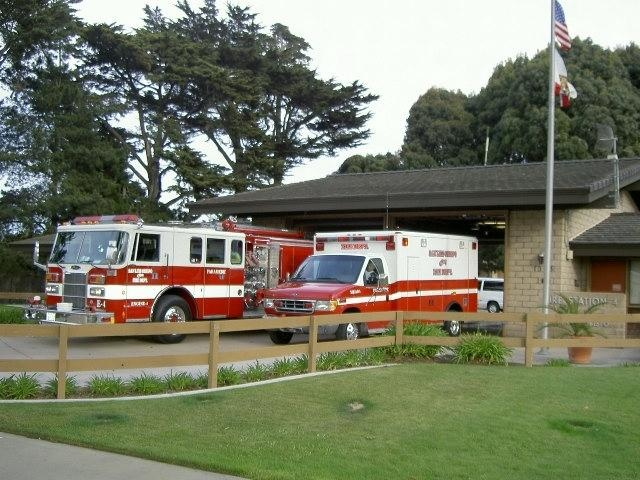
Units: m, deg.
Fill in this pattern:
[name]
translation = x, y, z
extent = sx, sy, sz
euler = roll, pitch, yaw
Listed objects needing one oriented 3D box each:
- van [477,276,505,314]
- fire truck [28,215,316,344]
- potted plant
[van]
translation = 8.871, 2.824, 30.817
extent = 1.512, 1.536, 2.759
euler = 1, 3, 4
[fire truck]
translation = -3.691, 1.079, 15.633
extent = 5.083, 2.973, 6.949
euler = 4, -6, 36
[potted plant]
translation = 6.204, 2.138, 14.805
extent = 1.696, 2.349, 1.505
euler = 1, 1, 39
